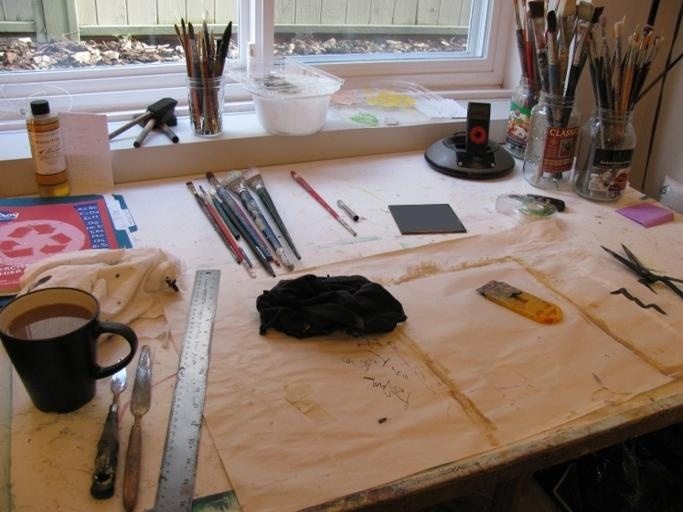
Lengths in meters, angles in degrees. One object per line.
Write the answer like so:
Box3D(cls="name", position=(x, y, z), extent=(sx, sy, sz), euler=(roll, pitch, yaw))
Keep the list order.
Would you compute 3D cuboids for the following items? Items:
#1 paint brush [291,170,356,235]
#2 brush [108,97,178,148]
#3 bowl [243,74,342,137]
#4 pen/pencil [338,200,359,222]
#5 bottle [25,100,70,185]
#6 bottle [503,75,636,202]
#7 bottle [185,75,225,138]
Box3D(cls="paint brush", position=(-0.048, -0.133, 1.286), extent=(0.035, 0.025, 0.295), euler=(24, 18, -44))
Box3D(cls="brush", position=(-0.554, -0.386, 1.393), extent=(0.175, 0.088, 0.278), euler=(-6, 29, -14))
Box3D(cls="bowl", position=(-0.130, -0.448, 1.466), extent=(0.254, 0.152, 0.212), euler=(1, 28, 0))
Box3D(cls="pen/pencil", position=(0.015, -0.116, 1.263), extent=(0.026, 0.024, 0.103), euler=(21, 15, -38))
Box3D(cls="bottle", position=(-0.694, -0.261, 1.203), extent=(0.087, 0.216, 0.090), euler=(12, 25, -5))
Box3D(cls="bottle", position=(0.624, -0.325, 1.415), extent=(0.256, 0.322, 0.258), euler=(1, 29, -1))
Box3D(cls="bottle", position=(-0.373, -0.410, 1.365), extent=(0.092, 0.170, 0.083), euler=(-8, 31, -13))
